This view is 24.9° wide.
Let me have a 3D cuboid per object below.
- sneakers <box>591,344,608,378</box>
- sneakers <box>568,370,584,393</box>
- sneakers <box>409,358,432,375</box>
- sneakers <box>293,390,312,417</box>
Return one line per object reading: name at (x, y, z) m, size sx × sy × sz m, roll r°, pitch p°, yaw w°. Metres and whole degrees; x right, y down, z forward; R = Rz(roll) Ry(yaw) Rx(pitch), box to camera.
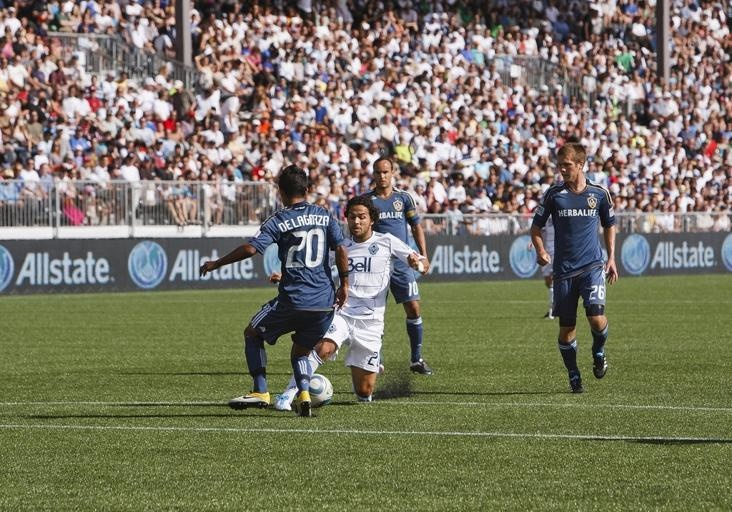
sneakers at (3.566, 1.610, 25.314) m, size 0.213 × 0.236 × 0.579 m, roll -8°, pitch 35°, yaw 16°
sneakers at (3.161, 1.893, 25.130) m, size 0.211 × 0.299 × 0.430 m, roll -2°, pitch 0°, yaw 6°
sneakers at (0.845, 1.771, 26.238) m, size 0.351 × 0.220 × 0.180 m, roll 2°, pitch 3°, yaw -1°
sneakers at (-0.921, 2.128, 23.987) m, size 0.227 × 0.354 × 0.297 m, roll -2°, pitch 0°, yaw -4°
